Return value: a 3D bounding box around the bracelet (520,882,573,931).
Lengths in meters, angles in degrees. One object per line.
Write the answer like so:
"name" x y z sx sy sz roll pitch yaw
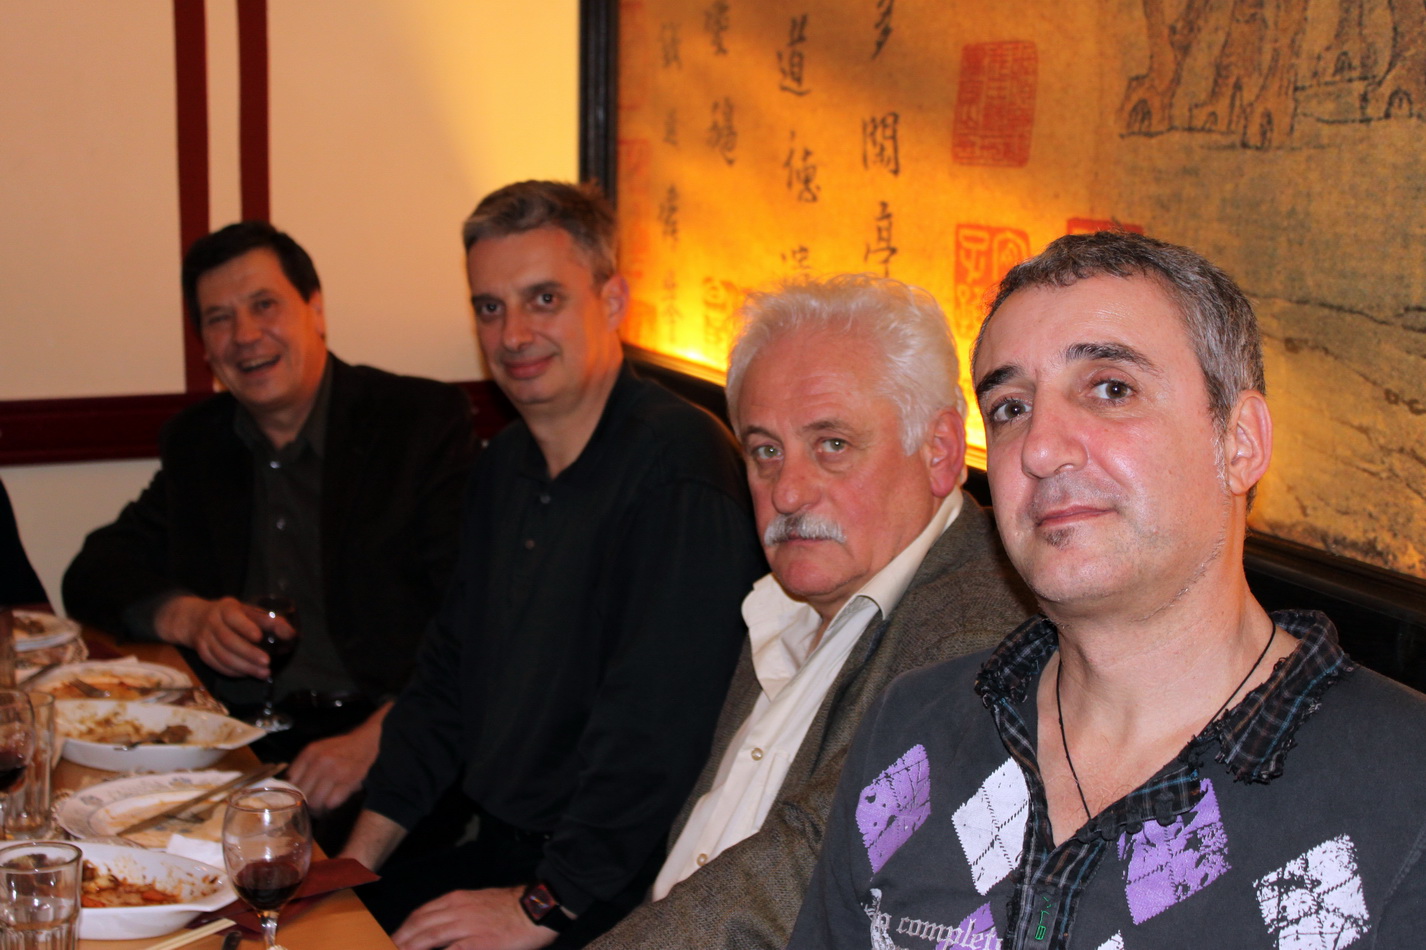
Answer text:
"bracelet" -0.346 0.899 2.389 0.109 0.096 0.056 6 17 10
